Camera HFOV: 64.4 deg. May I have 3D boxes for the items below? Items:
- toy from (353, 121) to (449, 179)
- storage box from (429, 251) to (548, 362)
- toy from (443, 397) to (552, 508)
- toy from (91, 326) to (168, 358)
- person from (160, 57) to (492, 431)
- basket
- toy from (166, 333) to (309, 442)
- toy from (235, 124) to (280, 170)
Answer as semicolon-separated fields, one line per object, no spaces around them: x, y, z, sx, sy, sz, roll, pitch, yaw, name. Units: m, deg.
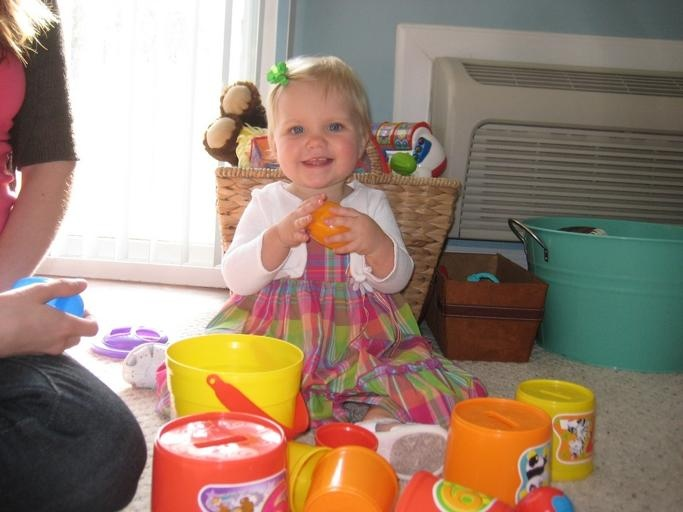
0.208;-0.315;1.789;0.205;0.258;0.123;14;-8;3;toy
0.451;0.142;1.800;0.261;0.202;0.392;2;4;5;storage box
0.278;0.312;0.973;0.153;0.145;0.154;14;18;38;toy
-0.610;0.239;1.547;0.134;0.036;0.123;5;9;0;toy
0.034;-0.058;1.282;0.639;0.833;0.373;8;12;27;person
-0.007;-0.061;1.678;0.643;0.642;0.500;2;3;0;basket
-0.208;0.217;1.015;0.226;0.150;0.234;8;3;36;toy
-0.279;-0.330;1.740;0.123;0.159;0.076;-6;-29;-3;toy
